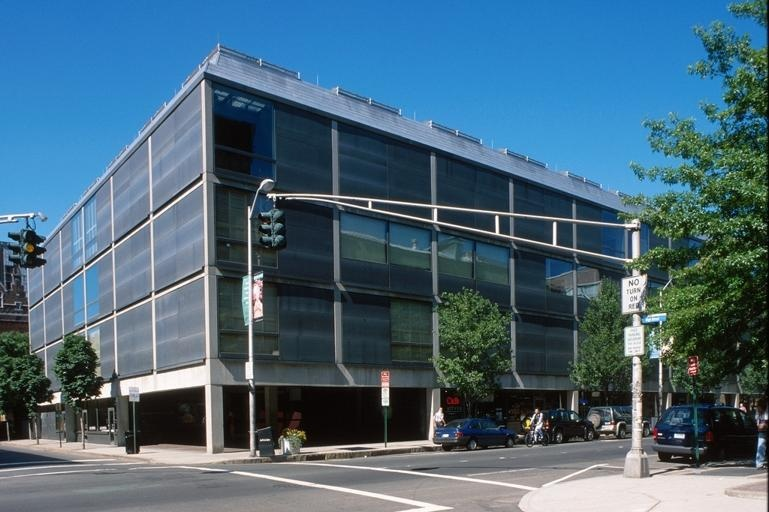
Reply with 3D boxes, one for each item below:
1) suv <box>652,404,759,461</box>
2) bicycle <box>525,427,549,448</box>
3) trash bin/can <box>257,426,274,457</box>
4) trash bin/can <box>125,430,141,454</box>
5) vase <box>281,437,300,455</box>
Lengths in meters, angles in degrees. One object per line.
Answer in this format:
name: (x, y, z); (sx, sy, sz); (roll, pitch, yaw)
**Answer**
suv: (14.316, 7.994, 41.862); (4.447, 2.605, 2.172); (7, -19, -28)
bicycle: (8.560, 10.514, 53.117); (1.452, 0.899, 0.718); (16, -23, -39)
trash bin/can: (-5.879, 9.116, 45.521); (0.843, 1.531, 1.618); (0, -17, -7)
trash bin/can: (-13.758, 10.137, 50.436); (1.079, 1.243, 0.479); (-13, -19, 32)
vase: (-4.658, 9.494, 46.250); (0.727, 0.583, 0.804); (10, -21, -32)
